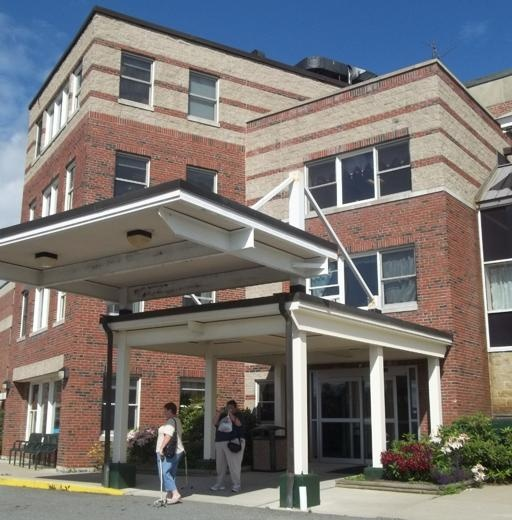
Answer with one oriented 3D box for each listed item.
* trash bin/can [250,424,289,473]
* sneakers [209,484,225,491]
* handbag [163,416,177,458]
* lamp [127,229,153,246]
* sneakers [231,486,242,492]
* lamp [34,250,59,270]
[{"bbox_3d":[0.409,4.908,16.864,1.160,1.301,1.075,-6,-20,22],"label":"trash bin/can"},{"bbox_3d":[-0.750,4.481,12.844,0.315,0.109,0.101,9,-22,-16],"label":"sneakers"},{"bbox_3d":[-1.426,2.994,10.954,0.169,0.653,0.355,-8,-20,16],"label":"handbag"},{"bbox_3d":[-1.841,-0.337,10.290,0.315,0.169,0.297,-9,-17,36],"label":"lamp"},{"bbox_3d":[-0.373,4.380,12.447,0.071,0.119,0.181,-11,-31,10],"label":"sneakers"},{"bbox_3d":[-3.818,-0.005,11.942,0.347,0.072,0.337,0,-25,-2],"label":"lamp"}]
